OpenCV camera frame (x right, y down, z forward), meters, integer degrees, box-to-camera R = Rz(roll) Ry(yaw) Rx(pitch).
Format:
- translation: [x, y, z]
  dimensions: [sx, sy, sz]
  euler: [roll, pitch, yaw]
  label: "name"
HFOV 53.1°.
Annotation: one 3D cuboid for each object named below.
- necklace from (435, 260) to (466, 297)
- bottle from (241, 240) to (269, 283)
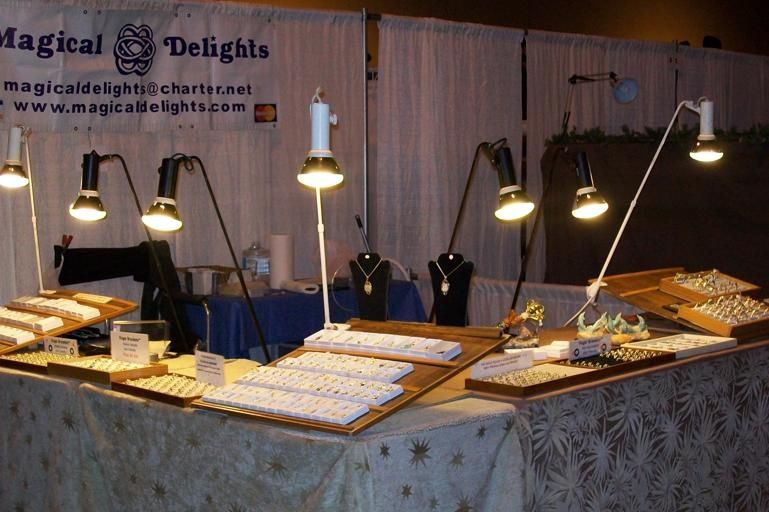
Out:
- translation: [0.328, 0.108, 3.793]
  dimensions: [0.158, 0.200, 0.019]
  euler: [3, 3, 20]
  label: "necklace"
- translation: [-1.066, 0.038, 6.424]
  dimensions: [0.209, 0.248, 0.218]
  euler: [14, 13, 27]
  label: "bottle"
